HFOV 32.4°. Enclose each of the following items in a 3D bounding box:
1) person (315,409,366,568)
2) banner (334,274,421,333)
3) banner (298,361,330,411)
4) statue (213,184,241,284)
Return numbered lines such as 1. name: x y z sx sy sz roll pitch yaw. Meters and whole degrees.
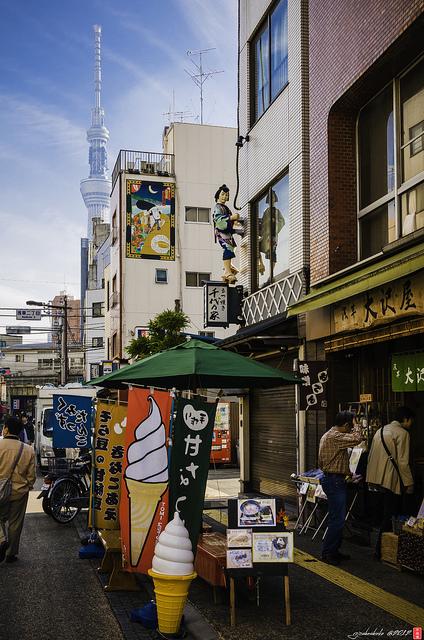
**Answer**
1. person: 1.597 2.066 9.058 0.567 1.857 1.375 -2 -5 10
2. banner: 2.041 -0.187 9.023 0.698 0.609 0.488 -7 0 7
3. banner: 1.531 0.992 10.975 0.580 1.021 0.077 0 -2 -1
4. statue: 0.300 -2.055 16.957 0.419 2.700 0.496 1 -1 -25
